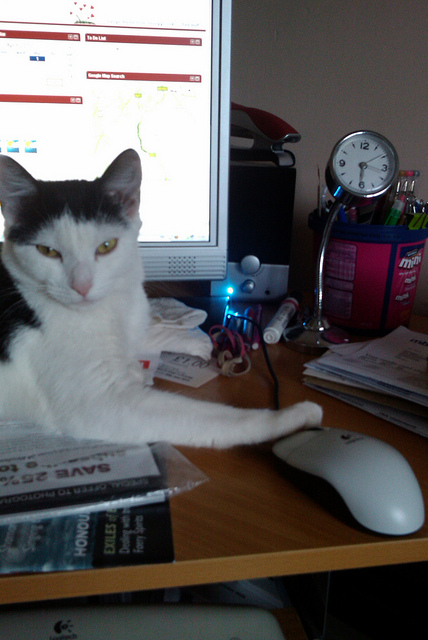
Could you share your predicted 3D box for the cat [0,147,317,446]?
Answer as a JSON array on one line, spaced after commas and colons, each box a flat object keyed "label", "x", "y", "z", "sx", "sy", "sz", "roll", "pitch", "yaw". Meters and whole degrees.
[{"label": "cat", "x": -0.052, "y": -0.028, "z": 0.533, "sx": 0.302, "sy": 0.244, "sz": 0.173, "roll": 0, "pitch": 24, "yaw": -3}]

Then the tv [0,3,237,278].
[{"label": "tv", "x": -0.107, "y": -0.199, "z": 0.579, "sx": 0.323, "sy": 0.351, "sz": 0.024, "roll": -2, "pitch": 8, "yaw": -21}]

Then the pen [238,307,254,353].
[{"label": "pen", "x": 0.044, "y": 0.015, "z": 0.738, "sx": 0.015, "sy": 0.015, "sz": 0.071, "roll": -35, "pitch": 24, "yaw": 34}]

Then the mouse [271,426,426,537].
[{"label": "mouse", "x": 0.111, "y": 0.116, "z": 0.441, "sx": 0.062, "sy": 0.031, "sz": 0.100, "roll": -15, "pitch": 21, "yaw": -33}]

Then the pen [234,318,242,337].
[{"label": "pen", "x": 0.033, "y": 0.007, "z": 0.745, "sx": 0.007, "sy": 0.014, "sz": 0.019, "roll": 5, "pitch": 24, "yaw": 8}]

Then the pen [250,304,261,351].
[{"label": "pen", "x": 0.063, "y": 0.008, "z": 0.766, "sx": 0.017, "sy": 0.019, "sz": 0.059, "roll": 0, "pitch": 55, "yaw": 8}]

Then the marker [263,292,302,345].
[{"label": "marker", "x": 0.101, "y": -0.003, "z": 0.775, "sx": 0.027, "sy": 0.025, "sz": 0.149, "roll": 14, "pitch": 27, "yaw": 11}]

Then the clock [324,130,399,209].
[{"label": "clock", "x": 0.171, "y": -0.175, "z": 0.706, "sx": 0.081, "sy": 0.087, "sz": 0.088, "roll": 41, "pitch": 17, "yaw": 4}]

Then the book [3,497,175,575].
[{"label": "book", "x": -0.093, "y": 0.157, "z": 0.405, "sx": 0.122, "sy": 0.006, "sz": 0.060, "roll": -3, "pitch": 24, "yaw": -9}]
